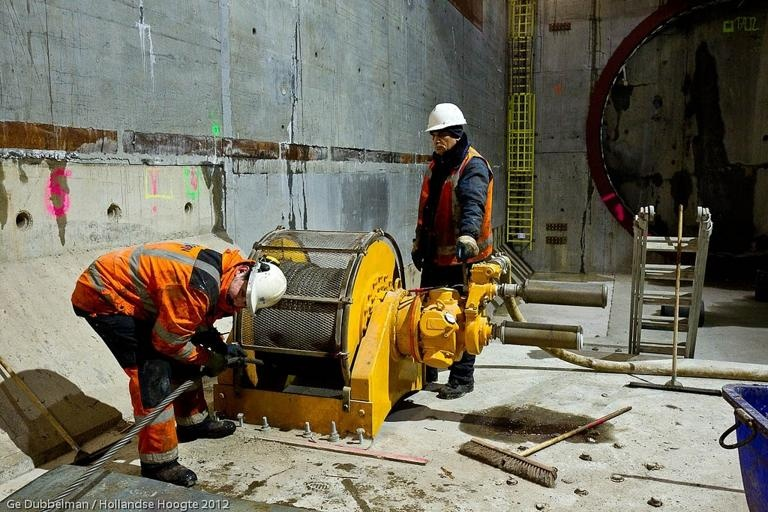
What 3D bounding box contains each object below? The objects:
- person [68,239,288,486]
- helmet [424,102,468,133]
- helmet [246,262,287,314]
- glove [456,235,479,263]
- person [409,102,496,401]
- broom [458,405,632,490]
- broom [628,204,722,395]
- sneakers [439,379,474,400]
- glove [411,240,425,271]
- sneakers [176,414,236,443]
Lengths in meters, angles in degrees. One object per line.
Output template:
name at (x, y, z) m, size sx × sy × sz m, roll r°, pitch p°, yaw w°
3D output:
person at (-1.464, 0.754, 4.385) m, size 1.299 × 1.684 × 0.734 m, roll -5°, pitch 9°, yaw -34°
helmet at (0.601, -1.306, 5.777) m, size 0.366 × 0.232 × 0.280 m, roll -4°, pitch 11°, yaw -20°
helmet at (-0.824, 0.221, 4.365) m, size 0.303 × 0.280 × 0.351 m, roll 0°, pitch 40°, yaw -4°
glove at (0.718, -0.052, 5.207) m, size 0.153 × 0.193 × 0.222 m, roll 3°, pitch 28°, yaw -15°
person at (0.704, -0.042, 5.658) m, size 0.695 × 2.754 × 1.071 m, roll -1°, pitch 8°, yaw -11°
broom at (1.291, 1.549, 4.692) m, size 1.336 × 0.164 × 0.671 m, roll -2°, pitch 7°, yaw -18°
broom at (2.958, 0.438, 6.118) m, size 0.883 × 1.889 × 0.076 m, roll 6°, pitch -16°, yaw 13°
sneakers at (0.680, 1.280, 5.732) m, size 0.285 × 0.132 × 0.140 m, roll -2°, pitch -1°, yaw -32°
glove at (0.341, 0.015, 5.996) m, size 0.062 × 0.245 × 0.232 m, roll -5°, pitch 20°, yaw 11°
sneakers at (-1.413, 1.398, 4.901) m, size 0.458 × 0.228 × 0.177 m, roll -2°, pitch 8°, yaw -13°
